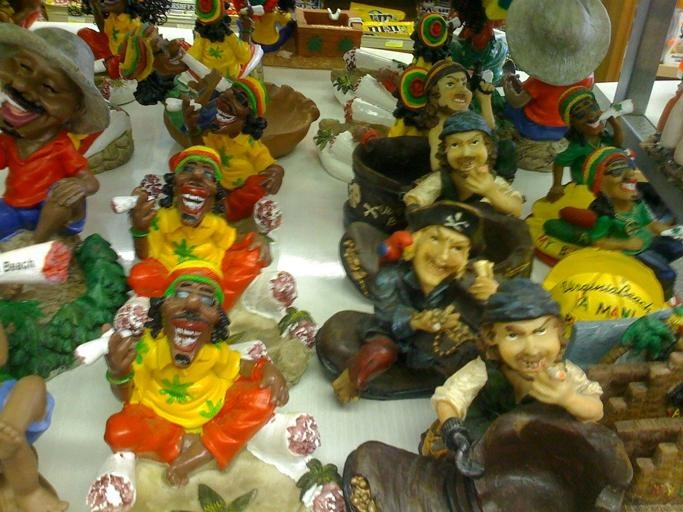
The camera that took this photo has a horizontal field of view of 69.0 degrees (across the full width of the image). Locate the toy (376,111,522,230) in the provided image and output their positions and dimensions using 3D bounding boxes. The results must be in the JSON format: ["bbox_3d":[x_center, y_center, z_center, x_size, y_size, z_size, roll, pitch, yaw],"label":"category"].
[{"bbox_3d":[0.706,-0.514,3.324,0.864,0.999,0.657,5,54,13],"label":"toy"}]

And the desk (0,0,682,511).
[{"bbox_3d":[-0.024,-0.046,2.900,3.256,0.653,2.034,5,45,-7],"label":"desk"}]
